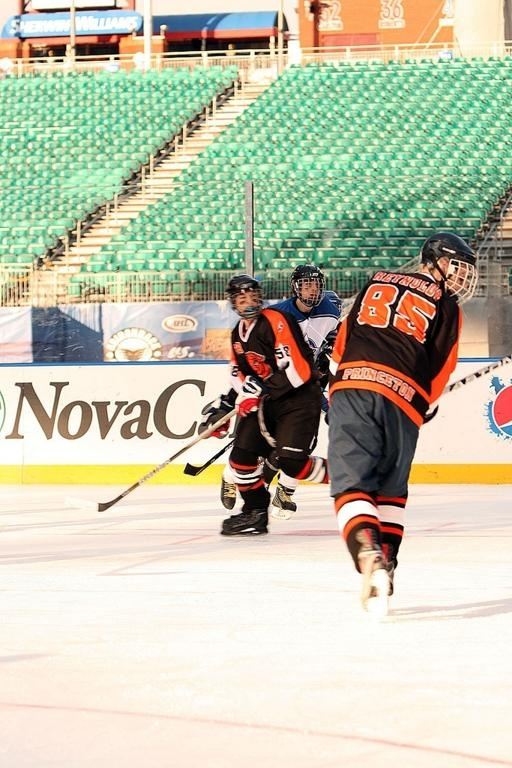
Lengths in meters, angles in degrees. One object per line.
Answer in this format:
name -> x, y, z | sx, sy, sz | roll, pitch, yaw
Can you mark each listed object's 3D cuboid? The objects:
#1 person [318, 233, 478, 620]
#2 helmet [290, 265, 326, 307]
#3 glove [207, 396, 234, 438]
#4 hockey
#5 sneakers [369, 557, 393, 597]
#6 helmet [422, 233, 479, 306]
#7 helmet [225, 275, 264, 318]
person -> 0.425, 0.099, 3.106 | 0.482, 1.312, 0.308 | 18, -19, -6
helmet -> 0.275, -0.553, 5.351 | 0.211, 0.204, 0.238 | 0, 1, -12
glove -> -0.202, 0.195, 5.645 | 0.117, 0.229, 0.181 | -1, 19, -31
hockey -> -0.746, 0.564, 6.957 | 1.217, 0.134, 0.123 | -29, -19, -19
sneakers -> 0.369, 0.554, 2.731 | 0.055, 0.095, 0.139 | 4, 5, 12
helmet -> 0.692, -0.408, 3.277 | 0.176, 0.184, 0.215 | 20, -4, -36
helmet -> -0.065, -0.455, 4.918 | 0.186, 0.230, 0.177 | 3, 5, -2
